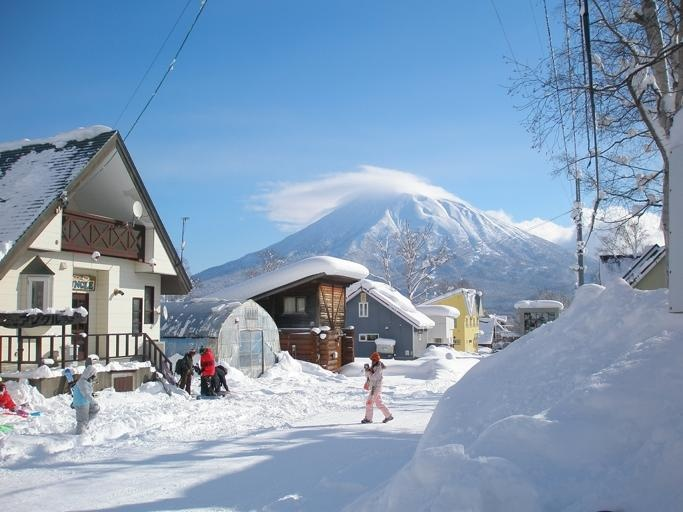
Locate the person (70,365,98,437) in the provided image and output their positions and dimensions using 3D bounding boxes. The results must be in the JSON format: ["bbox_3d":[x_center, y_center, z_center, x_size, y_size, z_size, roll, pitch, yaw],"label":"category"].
[{"bbox_3d":[-6.139,3.421,15.999,0.592,1.639,0.685,-1,-10,-24],"label":"person"}]

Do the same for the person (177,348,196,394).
[{"bbox_3d":[-5.289,3.968,22.647,0.549,1.450,1.265,-2,-10,-14],"label":"person"}]

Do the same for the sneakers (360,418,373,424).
[{"bbox_3d":[0.626,4.388,17.661,0.241,0.122,0.115,2,-4,33],"label":"sneakers"}]

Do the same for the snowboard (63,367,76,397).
[{"bbox_3d":[-7.513,3.507,18.366,0.190,0.957,0.155,-5,14,-37],"label":"snowboard"}]

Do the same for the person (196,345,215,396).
[{"bbox_3d":[-4.484,3.919,22.413,0.502,1.601,0.630,-3,-9,-13],"label":"person"}]
